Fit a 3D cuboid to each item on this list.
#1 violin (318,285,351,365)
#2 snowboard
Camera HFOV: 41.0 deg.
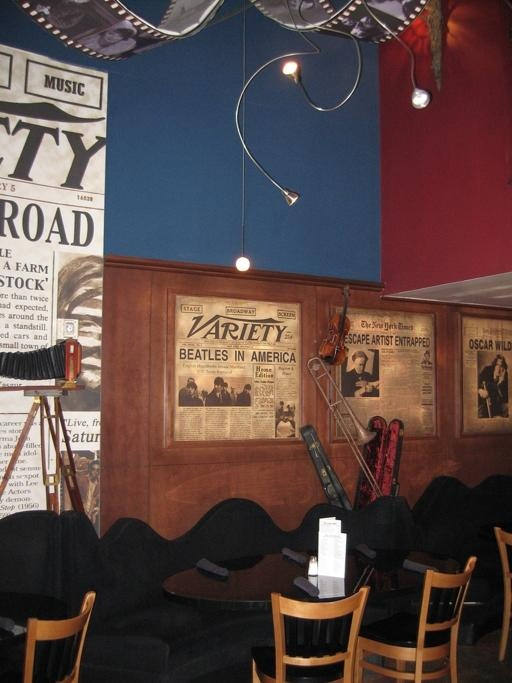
[{"bbox_3d":[0.555,-0.110,4.557,0.198,0.540,0.100,17,-6,-33],"label":"violin"},{"bbox_3d":[0.883,0.822,4.884,0.303,0.606,0.237,7,-2,22],"label":"snowboard"}]
